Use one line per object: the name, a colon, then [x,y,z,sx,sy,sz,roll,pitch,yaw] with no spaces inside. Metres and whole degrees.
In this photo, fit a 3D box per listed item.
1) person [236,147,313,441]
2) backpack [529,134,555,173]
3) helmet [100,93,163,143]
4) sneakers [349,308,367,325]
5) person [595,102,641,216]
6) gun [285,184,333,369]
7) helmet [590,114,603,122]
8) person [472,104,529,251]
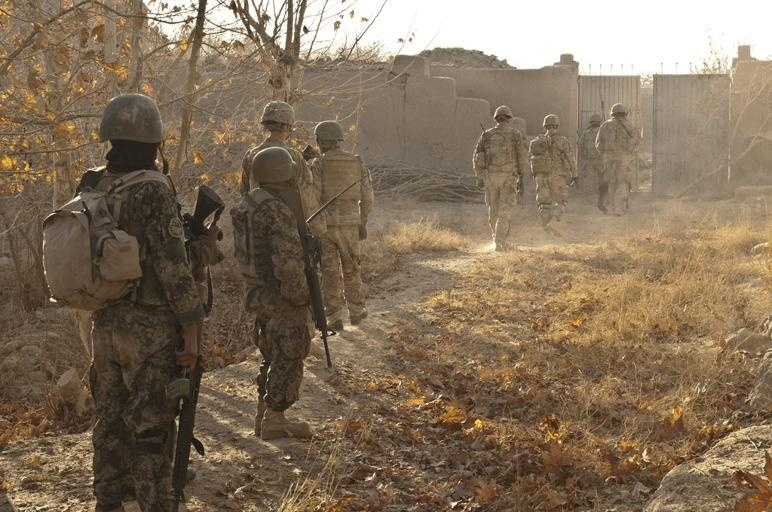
person: [-1.110,0.358,7.887,0.699,2.845,0.469,-1,5,-10]
backpack: [3.107,-2.021,16.147,0.437,0.816,0.396,1,5,8]
helmet: [-2.147,-1.134,6.753,0.561,0.456,0.589,0,-1,-10]
sneakers: [-0.369,0.764,10.346,0.179,0.192,0.228,-2,-31,-3]
person: [5.456,-2.282,18.992,0.853,2.517,1.125,3,6,34]
gun: [-0.826,0.193,8.464,0.128,2.107,0.617,-10,3,1]
helmet: [5.041,-3.311,19.427,0.346,0.237,0.343,3,8,14]
person: [2.032,-1.399,14.382,0.922,2.524,0.998,0,5,8]
